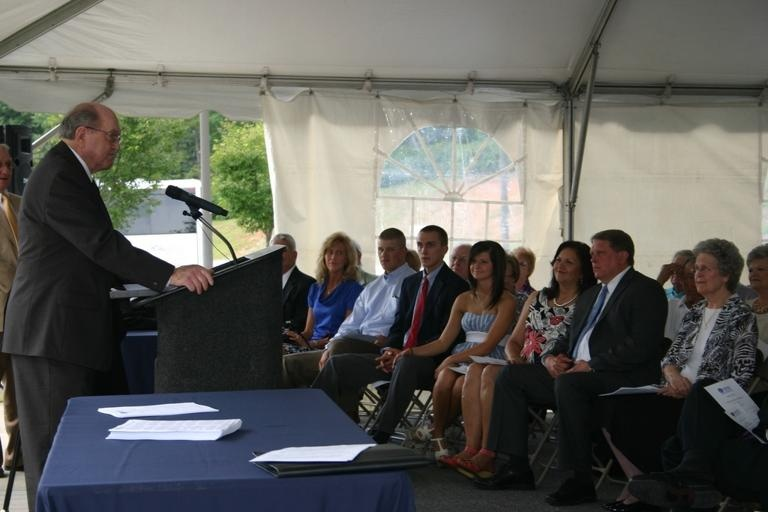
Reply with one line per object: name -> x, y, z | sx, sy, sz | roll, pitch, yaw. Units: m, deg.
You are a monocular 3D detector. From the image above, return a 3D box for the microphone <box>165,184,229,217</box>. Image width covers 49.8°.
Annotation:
microphone -> -1.053, -0.306, 4.614 | 0.436, 0.260, 0.201 | -2, 8, -5

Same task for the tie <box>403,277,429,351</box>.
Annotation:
tie -> 0.270, 0.484, 6.889 | 0.164, 0.581, 0.172 | 3, -19, 1
